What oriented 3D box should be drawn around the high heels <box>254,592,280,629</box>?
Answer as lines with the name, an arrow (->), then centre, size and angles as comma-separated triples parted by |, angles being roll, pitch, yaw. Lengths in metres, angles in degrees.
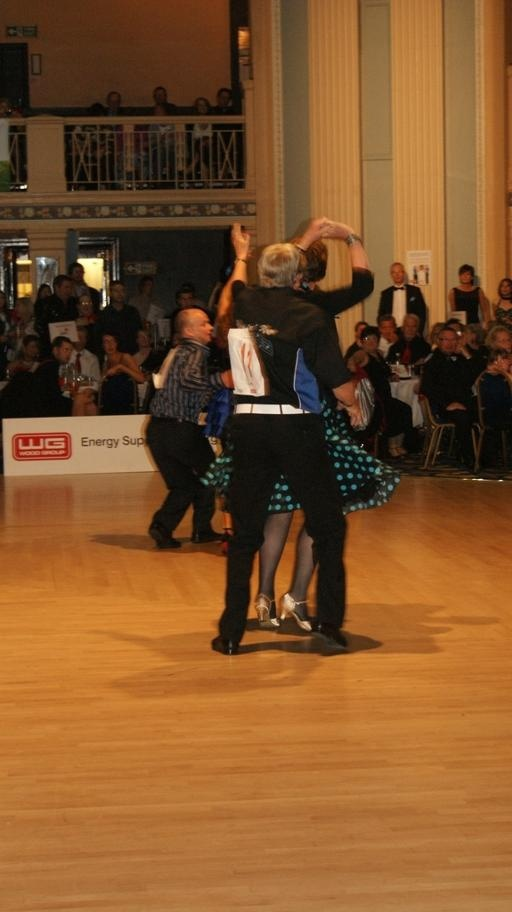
high heels -> 0.068, 0.615, 3.309 | 0.067, 0.127, 0.183 | -1, -2, 9

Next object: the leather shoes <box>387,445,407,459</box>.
leather shoes -> 1.544, -0.057, 9.238 | 0.082, 0.101, 0.260 | -1, -3, -9

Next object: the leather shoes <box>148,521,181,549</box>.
leather shoes -> -0.560, 0.485, 5.140 | 0.182, 0.149, 0.233 | -1, 3, -4

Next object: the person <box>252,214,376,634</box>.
person -> 0.185, -0.098, 3.154 | 0.442, 1.568, 0.539 | -4, 4, -45

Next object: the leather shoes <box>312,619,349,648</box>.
leather shoes -> 0.257, 0.628, 2.972 | 0.139, 0.059, 0.051 | 36, 14, -11

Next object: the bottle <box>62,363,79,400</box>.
bottle -> -2.027, -0.833, 9.133 | 0.107, 0.325, 0.241 | 4, 25, -1

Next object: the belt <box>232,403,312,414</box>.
belt -> 0.043, -0.158, 2.801 | 0.235, 0.038, 0.064 | 1, 3, 27
